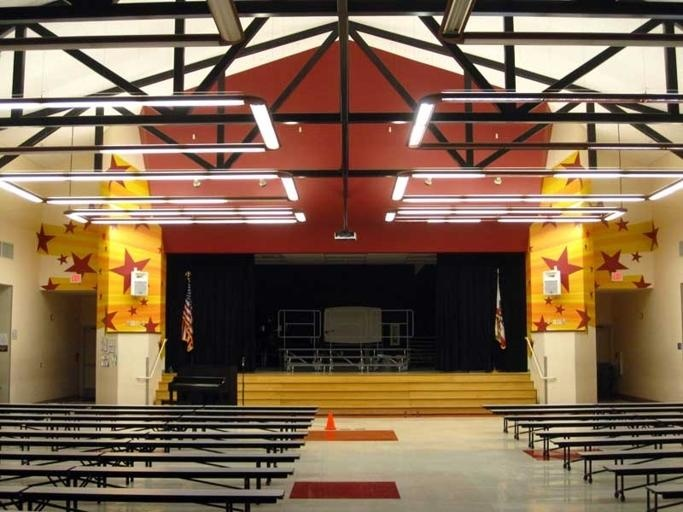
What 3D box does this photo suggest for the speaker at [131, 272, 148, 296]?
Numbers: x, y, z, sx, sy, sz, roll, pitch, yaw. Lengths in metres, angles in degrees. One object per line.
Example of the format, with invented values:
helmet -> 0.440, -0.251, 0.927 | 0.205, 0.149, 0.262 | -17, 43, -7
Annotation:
speaker -> -4.719, 0.615, 15.821 | 0.413, 0.613, 0.362 | 4, -11, -22

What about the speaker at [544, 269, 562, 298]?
speaker -> 4.887, 0.613, 15.832 | 0.304, 0.649, 0.500 | 3, -10, -19

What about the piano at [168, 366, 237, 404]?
piano -> -2.914, 2.736, 14.404 | 1.360, 0.807, 1.138 | 0, -9, -4

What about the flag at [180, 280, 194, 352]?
flag -> -4.018, 1.415, 17.744 | 0.325, 2.147, 1.146 | 2, -10, -13
